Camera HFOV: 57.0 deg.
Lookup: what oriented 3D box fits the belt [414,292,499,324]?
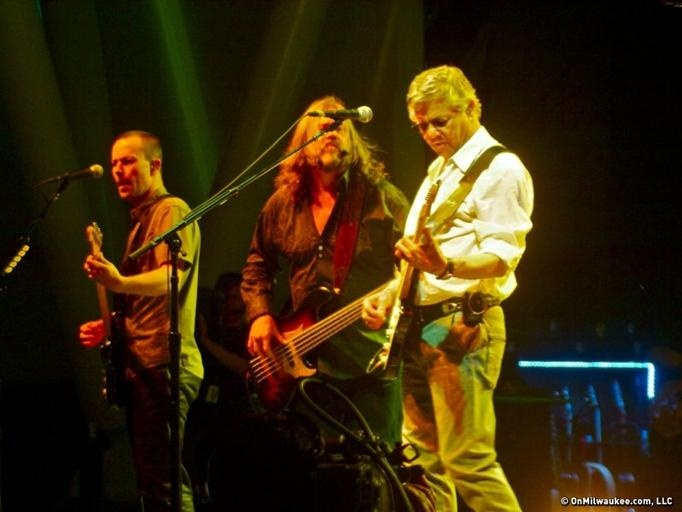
[{"bbox_3d":[0.550,0.249,3.062,0.327,0.076,0.170,-9,-34,-5],"label":"belt"}]

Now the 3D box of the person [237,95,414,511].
[{"bbox_3d":[-0.051,0.211,3.806,0.995,2.340,0.269,4,-9,26],"label":"person"}]

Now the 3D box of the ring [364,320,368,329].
[{"bbox_3d":[0.140,0.382,3.488,0.026,0.008,0.054,-12,-36,-3],"label":"ring"}]

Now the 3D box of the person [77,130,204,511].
[{"bbox_3d":[-1.130,0.294,3.659,0.680,2.276,0.771,4,-17,-15],"label":"person"}]

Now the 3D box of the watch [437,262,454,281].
[{"bbox_3d":[0.491,0.064,2.923,0.051,0.076,0.087,11,-20,-33],"label":"watch"}]
